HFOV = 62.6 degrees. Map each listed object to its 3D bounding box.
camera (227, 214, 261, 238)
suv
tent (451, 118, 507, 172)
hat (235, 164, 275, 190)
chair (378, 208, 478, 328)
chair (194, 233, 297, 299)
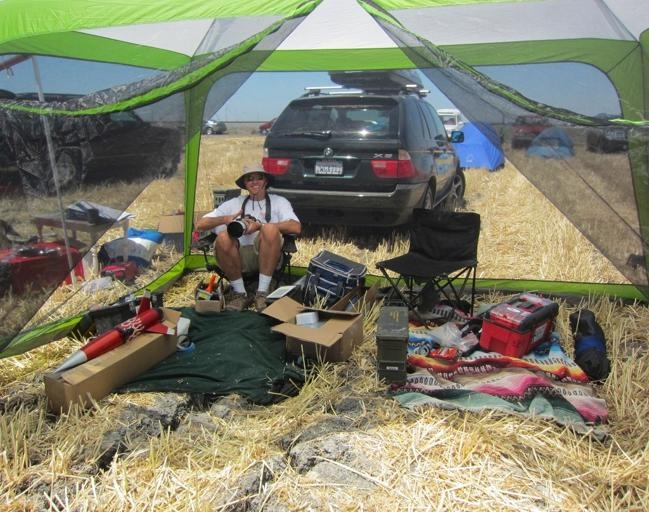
[{"bbox_3d":[-0.718,-0.254,4.674,0.217,0.081,0.239,2,14,13],"label":"camera"},{"bbox_3d":[0.613,-1.226,6.016,1.876,1.154,2.798,8,20,16],"label":"suv"},{"bbox_3d":[1.403,-1.103,5.024,0.520,0.290,0.643,12,52,8],"label":"tent"},{"bbox_3d":[-0.671,-0.747,4.943,0.336,0.106,0.279,-3,-8,1],"label":"hat"},{"bbox_3d":[0.818,0.148,4.497,0.948,0.839,0.794,2,22,20],"label":"chair"},{"bbox_3d":[-0.700,0.103,4.761,0.801,0.616,0.652,1,-2,24],"label":"chair"}]
